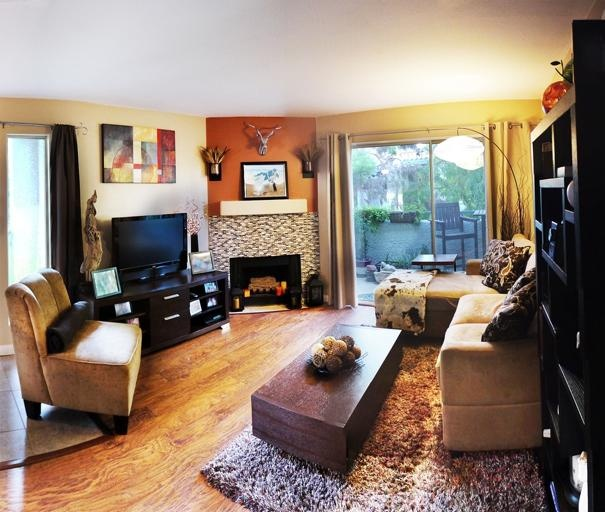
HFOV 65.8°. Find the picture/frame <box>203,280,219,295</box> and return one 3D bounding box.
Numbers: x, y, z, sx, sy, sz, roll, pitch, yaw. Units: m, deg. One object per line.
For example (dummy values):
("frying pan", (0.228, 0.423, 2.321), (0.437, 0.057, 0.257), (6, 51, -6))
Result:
("picture/frame", (-1.010, 0.345, 5.201), (0.108, 0.144, 0.192), (-2, -1, 35))

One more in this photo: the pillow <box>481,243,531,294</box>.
("pillow", (1.931, 0.108, 4.440), (0.124, 0.426, 0.432), (17, 10, -11))

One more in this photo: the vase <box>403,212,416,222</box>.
("vase", (1.370, -0.510, 5.994), (0.185, 0.143, 0.107), (3, 10, 32))

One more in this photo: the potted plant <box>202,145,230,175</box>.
("potted plant", (-1.118, -1.185, 6.127), (0.433, 0.472, 0.317), (0, -2, -11))

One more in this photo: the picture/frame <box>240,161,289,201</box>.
("picture/frame", (-0.529, -0.995, 6.145), (0.497, 0.448, 0.038), (-1, 3, -6))

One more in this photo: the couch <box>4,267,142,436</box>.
("couch", (-1.448, 0.577, 3.555), (1.084, 1.278, 0.892), (3, 9, -5))

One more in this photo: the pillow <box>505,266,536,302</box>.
("pillow", (1.527, 0.185, 3.268), (0.086, 0.302, 0.162), (24, 42, -1))

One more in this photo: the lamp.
("lamp", (1.934, -0.768, 4.847), (0.760, 1.206, 0.360), (-8, -14, -5))

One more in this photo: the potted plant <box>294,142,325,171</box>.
("potted plant", (0.093, -1.298, 6.168), (0.354, 0.376, 0.365), (-1, 1, 6))

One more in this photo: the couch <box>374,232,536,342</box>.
("couch", (1.372, 0.388, 4.771), (1.168, 0.835, 1.226), (2, 7, 29))

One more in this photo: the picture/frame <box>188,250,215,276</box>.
("picture/frame", (-1.168, 0.075, 5.377), (0.020, 0.235, 0.265), (-10, -4, 42))

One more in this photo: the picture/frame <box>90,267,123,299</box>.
("picture/frame", (-1.825, 0.256, 4.350), (0.025, 0.239, 0.268), (-11, -2, 21))
